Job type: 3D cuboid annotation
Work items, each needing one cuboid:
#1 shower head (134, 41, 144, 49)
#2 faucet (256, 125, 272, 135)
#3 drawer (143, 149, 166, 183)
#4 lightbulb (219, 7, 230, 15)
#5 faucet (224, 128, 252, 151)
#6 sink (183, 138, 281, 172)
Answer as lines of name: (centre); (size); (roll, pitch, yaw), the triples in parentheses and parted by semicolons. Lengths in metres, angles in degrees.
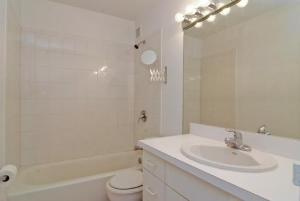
shower head: (-0.196, -0.908, 3.476); (0.179, 0.129, 0.081); (-21, 26, -1)
faucet: (1.085, 0.276, 1.996); (0.065, 0.092, 0.046); (-1, -3, 39)
drawer: (0.050, 0.647, 2.109); (0.123, 0.213, 0.255); (9, 1, -40)
lightbulb: (0.806, -0.946, 2.239); (0.054, 0.040, 0.063); (0, -3, -7)
faucet: (0.853, 0.382, 2.076); (0.229, 0.167, 0.088); (3, 0, 16)
sink: (0.767, 0.507, 1.961); (0.366, 0.157, 0.440); (2, -3, -38)
